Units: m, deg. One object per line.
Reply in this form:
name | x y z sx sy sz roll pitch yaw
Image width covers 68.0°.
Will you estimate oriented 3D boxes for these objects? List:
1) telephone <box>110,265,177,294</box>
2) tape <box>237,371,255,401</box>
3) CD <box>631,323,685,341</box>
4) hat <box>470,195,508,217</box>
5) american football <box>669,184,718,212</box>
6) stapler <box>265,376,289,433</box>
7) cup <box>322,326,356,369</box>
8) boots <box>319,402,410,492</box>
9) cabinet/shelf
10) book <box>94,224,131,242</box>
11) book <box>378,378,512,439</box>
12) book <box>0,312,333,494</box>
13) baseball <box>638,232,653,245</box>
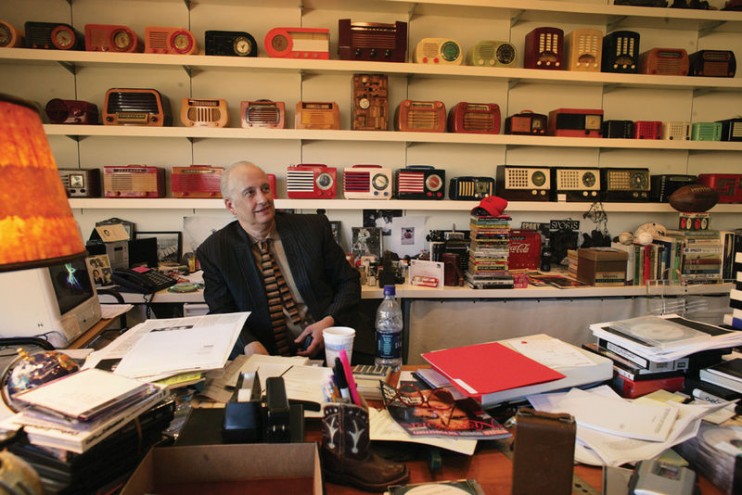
telephone | -1.491 0.210 3.559 0.205 0.086 0.253 4 7 -1
tape | -0.473 0.523 2.063 0.071 0.066 0.138 -4 7 -10
CD | 1.222 0.361 2.337 0.104 0.022 0.095 -6 9 -33
hat | 0.834 -0.283 3.854 0.150 0.075 0.214 14 28 35
american football | 2.315 -0.353 3.991 0.314 0.175 0.180 -7 15 1
stapler | -0.344 0.575 1.980 0.051 0.118 0.135 -1 32 -4
cup | -0.125 0.433 2.392 0.165 0.154 0.172 0 -3 0
boots | -0.038 0.741 2.110 0.447 0.379 0.197 -1 3 -5
cabinet/shelf | 0.041 -0.801 4.020 5.084 1.267 0.383 -2 8 -3
book | -1.729 -0.094 3.656 0.099 0.117 0.230 -1 7 13
book | 0.271 0.650 2.147 0.299 0.091 0.242 9 12 -16
book | -0.936 0.565 2.247 0.600 0.428 0.935 2 8 30
baseball | 1.972 -0.060 3.948 0.092 0.071 0.098 -13 12 5
